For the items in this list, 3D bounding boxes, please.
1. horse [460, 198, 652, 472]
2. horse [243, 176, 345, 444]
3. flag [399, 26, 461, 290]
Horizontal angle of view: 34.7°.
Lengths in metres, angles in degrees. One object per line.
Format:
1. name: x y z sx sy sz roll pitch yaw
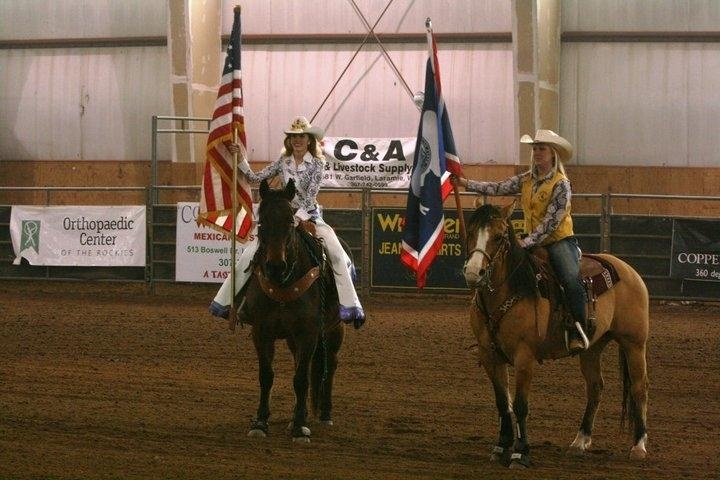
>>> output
1. horse: 4.521 2.104 26.158 6.265 5.753 2.111 3 -3 -38
2. horse: -1.523 1.427 25.769 2.087 5.563 1.415 -1 5 -10
3. flag: 1.553 -1.931 25.637 1.239 5.782 0.818 0 5 0
